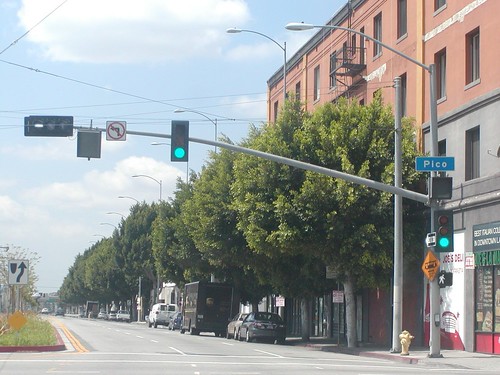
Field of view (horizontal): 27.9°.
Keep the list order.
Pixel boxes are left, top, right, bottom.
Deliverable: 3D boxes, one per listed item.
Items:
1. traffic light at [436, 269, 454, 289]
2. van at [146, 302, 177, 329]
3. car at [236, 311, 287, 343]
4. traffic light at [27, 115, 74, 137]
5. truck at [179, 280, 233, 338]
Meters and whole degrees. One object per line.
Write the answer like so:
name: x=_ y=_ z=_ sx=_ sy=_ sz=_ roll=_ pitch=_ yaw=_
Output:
traffic light: x=8.130 y=3.817 z=42.046 sx=0.570 sy=0.650 sz=0.461 roll=-2 pitch=-14 yaw=17
van: x=-7.273 y=10.595 z=83.145 sx=1.545 sy=1.640 sz=2.842 roll=2 pitch=-4 yaw=-13
car: x=0.749 y=7.479 z=53.845 sx=2.070 sy=1.625 sz=2.469 roll=4 pitch=-15 yaw=-9
traffic light: x=-7.944 y=-2.385 z=40.071 sx=1.847 sy=0.821 sz=0.268 roll=3 pitch=-12 yaw=-2
truck: x=-2.598 y=7.340 z=61.072 sx=2.123 sy=2.923 sz=6.904 roll=1 pitch=-10 yaw=-9
